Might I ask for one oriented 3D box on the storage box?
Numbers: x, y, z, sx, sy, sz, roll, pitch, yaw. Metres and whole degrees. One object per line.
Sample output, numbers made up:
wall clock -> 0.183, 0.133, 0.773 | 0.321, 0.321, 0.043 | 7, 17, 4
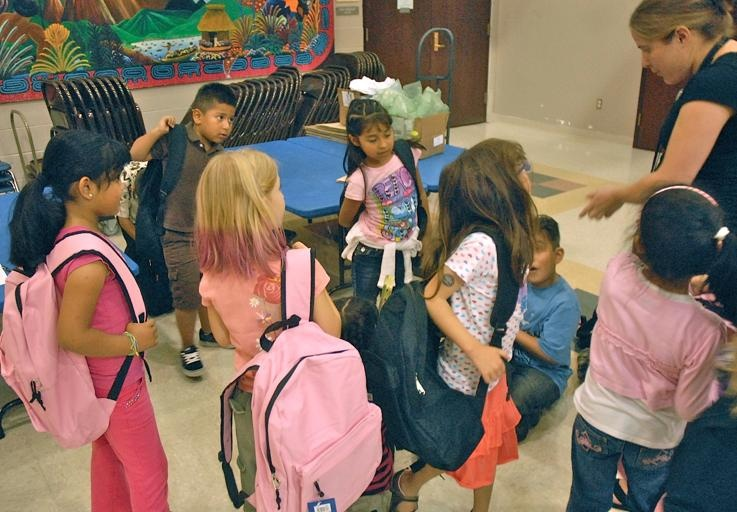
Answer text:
storage box -> 0.188, -0.927, 4.407 | 0.708, 0.460, 0.716 | -23, 36, -35

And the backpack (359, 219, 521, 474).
backpack -> 0.204, 0.418, 2.032 | 0.388, 0.600, 0.334 | 11, 25, 25

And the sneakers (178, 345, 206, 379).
sneakers -> -1.013, 0.620, 3.355 | 0.089, 0.109, 0.233 | -10, 25, -29
